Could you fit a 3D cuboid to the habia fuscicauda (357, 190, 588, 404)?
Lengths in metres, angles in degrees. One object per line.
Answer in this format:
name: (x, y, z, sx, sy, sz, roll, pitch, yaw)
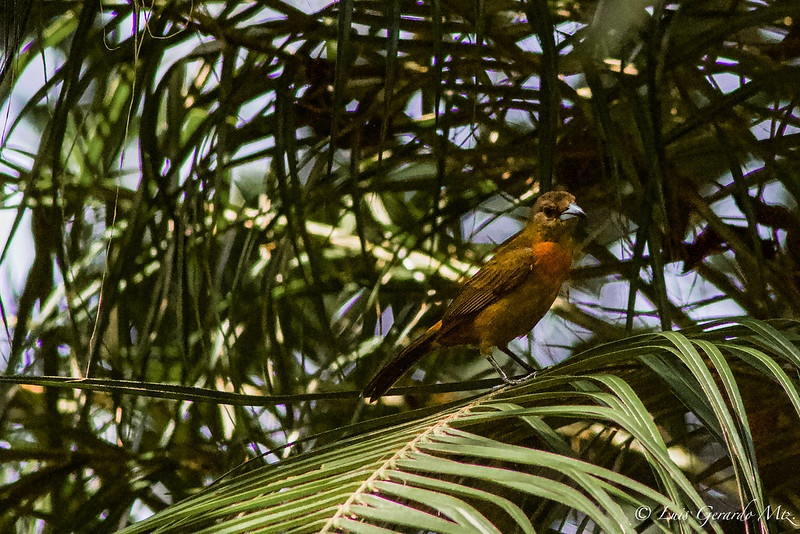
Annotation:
habia fuscicauda: (0.466, 0.172, 7.191, 1.215, 1.011, 0.446, -7, -11, 25)
